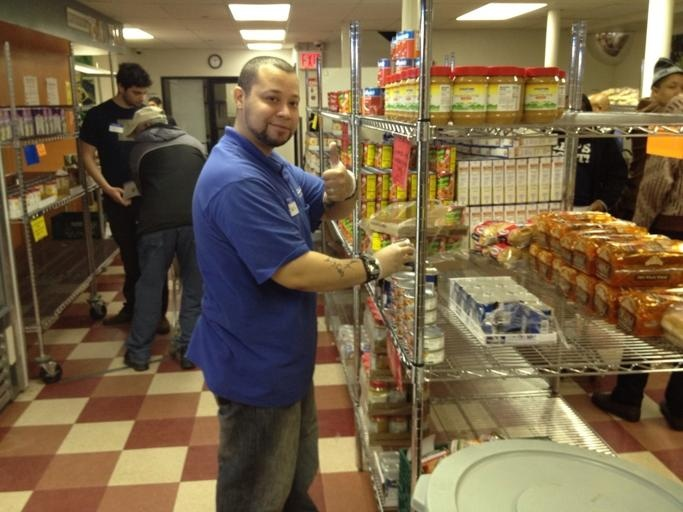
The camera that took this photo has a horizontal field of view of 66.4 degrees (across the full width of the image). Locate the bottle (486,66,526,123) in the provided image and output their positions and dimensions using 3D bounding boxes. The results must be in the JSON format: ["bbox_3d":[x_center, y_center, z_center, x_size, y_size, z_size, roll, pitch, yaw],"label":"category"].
[{"bbox_3d":[0.594,-0.570,1.858,0.153,0.194,0.076,-4,18,-12],"label":"bottle"}]

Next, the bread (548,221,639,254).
[{"bbox_3d":[1.110,-0.111,2.342,0.230,0.067,0.207,-4,16,7],"label":"bread"}]

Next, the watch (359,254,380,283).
[{"bbox_3d":[0.098,0.047,1.943,0.086,0.088,0.093,0,-23,-23],"label":"watch"}]

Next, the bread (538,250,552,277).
[{"bbox_3d":[0.950,0.034,2.443,0.073,0.098,0.112,-2,17,2],"label":"bread"}]

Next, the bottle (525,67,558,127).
[{"bbox_3d":[0.759,-0.586,1.919,0.196,0.190,0.093,-12,20,-33],"label":"bottle"}]

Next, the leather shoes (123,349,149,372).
[{"bbox_3d":[-1.624,0.836,4.124,0.104,0.091,0.248,1,3,-28],"label":"leather shoes"}]

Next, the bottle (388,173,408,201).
[{"bbox_3d":[0.308,-0.358,2.832,0.136,0.122,0.122,-4,11,-13],"label":"bottle"}]

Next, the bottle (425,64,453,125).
[{"bbox_3d":[0.341,-0.557,1.820,0.075,0.188,0.041,-3,18,-7],"label":"bottle"}]

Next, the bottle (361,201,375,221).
[{"bbox_3d":[0.147,-0.256,3.038,0.123,0.109,0.109,-1,8,-4],"label":"bottle"}]

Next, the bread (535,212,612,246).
[{"bbox_3d":[1.090,-0.158,2.475,0.248,0.071,0.219,-5,15,-7],"label":"bread"}]

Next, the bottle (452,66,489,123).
[{"bbox_3d":[0.447,-0.563,1.839,0.118,0.190,0.051,1,18,7],"label":"bottle"}]

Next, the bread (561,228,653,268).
[{"bbox_3d":[1.125,-0.061,2.210,0.286,0.084,0.184,-8,25,-3],"label":"bread"}]
